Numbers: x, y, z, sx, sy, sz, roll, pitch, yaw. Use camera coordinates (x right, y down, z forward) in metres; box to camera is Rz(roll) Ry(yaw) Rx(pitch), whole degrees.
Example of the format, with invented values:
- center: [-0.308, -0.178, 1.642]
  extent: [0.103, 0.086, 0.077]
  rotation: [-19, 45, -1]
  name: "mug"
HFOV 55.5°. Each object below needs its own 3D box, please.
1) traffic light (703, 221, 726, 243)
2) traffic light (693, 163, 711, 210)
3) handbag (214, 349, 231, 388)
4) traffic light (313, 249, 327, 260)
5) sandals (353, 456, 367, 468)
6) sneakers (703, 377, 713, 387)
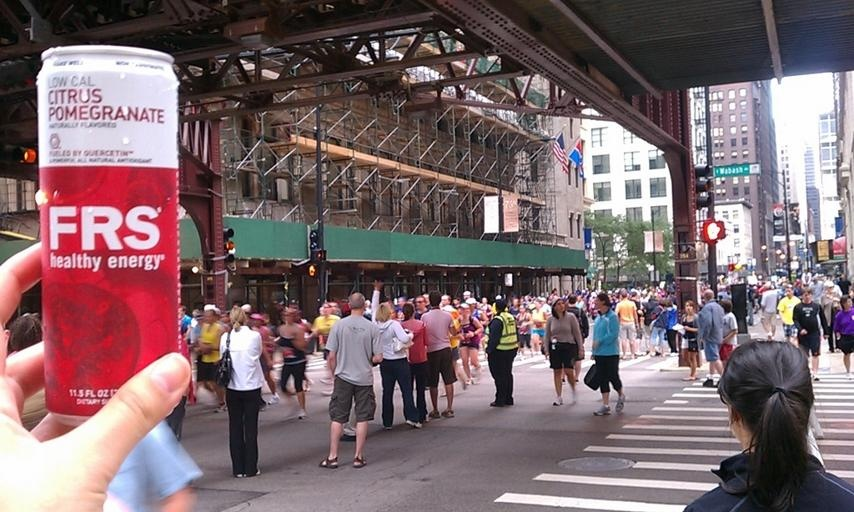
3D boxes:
- center: [8.241, -0.704, 23.250]
  extent: [0.563, 0.670, 1.513]
  rotation: [-2, -2, 26]
  name: "traffic light"
- center: [7.425, -1.895, 21.798]
  extent: [0.426, 1.165, 0.763]
  rotation: [-2, -2, 18]
  name: "traffic light"
- center: [-2.890, 1.587, 11.422]
  extent: [0.232, 0.515, 0.253]
  rotation: [-1, -2, -37]
  name: "handbag"
- center: [-3.636, -0.055, 27.856]
  extent: [0.385, 0.351, 0.373]
  rotation: [2, -5, -43]
  name: "traffic light"
- center: [-0.959, 2.931, 11.559]
  extent: [0.102, 0.093, 0.213]
  rotation: [1, 1, 10]
  name: "sandals"
- center: [6.422, 2.858, 18.473]
  extent: [0.219, 0.203, 0.222]
  rotation: [1, -2, 28]
  name: "sneakers"
